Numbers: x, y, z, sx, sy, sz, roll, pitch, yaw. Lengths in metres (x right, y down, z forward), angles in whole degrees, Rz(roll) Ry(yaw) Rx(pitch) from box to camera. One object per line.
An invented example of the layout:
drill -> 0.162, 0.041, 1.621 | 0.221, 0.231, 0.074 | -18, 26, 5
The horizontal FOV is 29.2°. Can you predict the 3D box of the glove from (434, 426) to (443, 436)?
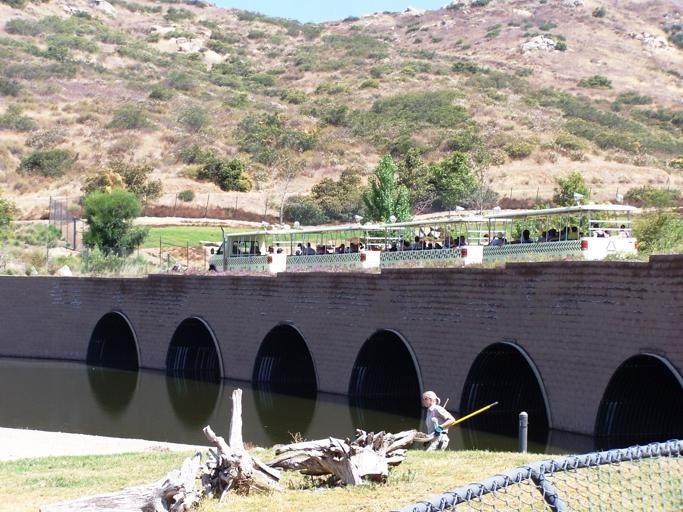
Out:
glove -> 7.050, 12.332, 93.980 | 0.397, 0.546, 0.531 | 4, 16, -33
